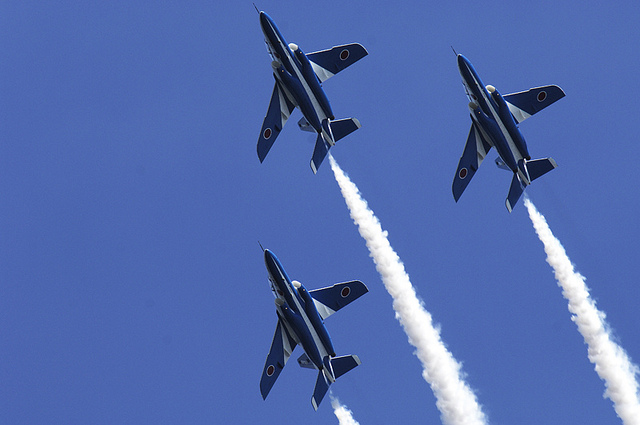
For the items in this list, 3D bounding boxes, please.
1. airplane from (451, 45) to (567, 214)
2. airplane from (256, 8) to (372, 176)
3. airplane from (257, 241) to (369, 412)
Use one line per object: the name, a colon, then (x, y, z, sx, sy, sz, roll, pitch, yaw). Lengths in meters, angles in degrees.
airplane: (9.137, -3.648, 52.105, 4.988, 6.336, 3.326, -3, -20, -20)
airplane: (-0.787, -6.420, 51.132, 6.911, 7.848, 1.538, -32, 20, -11)
airplane: (-0.547, 5.722, 49.833, 4.752, 6.511, 2.670, -8, -19, -7)
